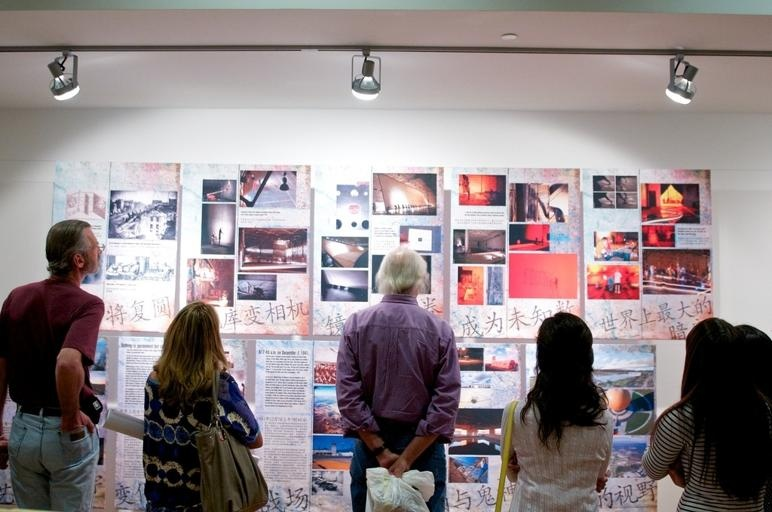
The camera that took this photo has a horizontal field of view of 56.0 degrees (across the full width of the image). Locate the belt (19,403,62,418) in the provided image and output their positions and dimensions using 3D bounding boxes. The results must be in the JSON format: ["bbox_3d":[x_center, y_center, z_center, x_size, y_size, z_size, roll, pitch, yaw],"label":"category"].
[{"bbox_3d":[-2.487,1.105,5.210,0.353,0.075,0.046,1,-2,16],"label":"belt"}]

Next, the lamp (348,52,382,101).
[{"bbox_3d":[-0.151,-1.418,5.719,0.252,0.360,0.252,-11,22,-37],"label":"lamp"}]

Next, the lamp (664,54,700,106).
[{"bbox_3d":[2.327,-1.411,5.724,0.262,0.433,0.191,12,-15,32],"label":"lamp"}]

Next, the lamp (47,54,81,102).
[{"bbox_3d":[-2.507,-1.400,5.674,0.281,0.298,0.181,0,27,24],"label":"lamp"}]

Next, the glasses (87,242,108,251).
[{"bbox_3d":[-2.358,-0.063,6.018,0.128,0.042,0.128,3,-17,-29],"label":"glasses"}]
